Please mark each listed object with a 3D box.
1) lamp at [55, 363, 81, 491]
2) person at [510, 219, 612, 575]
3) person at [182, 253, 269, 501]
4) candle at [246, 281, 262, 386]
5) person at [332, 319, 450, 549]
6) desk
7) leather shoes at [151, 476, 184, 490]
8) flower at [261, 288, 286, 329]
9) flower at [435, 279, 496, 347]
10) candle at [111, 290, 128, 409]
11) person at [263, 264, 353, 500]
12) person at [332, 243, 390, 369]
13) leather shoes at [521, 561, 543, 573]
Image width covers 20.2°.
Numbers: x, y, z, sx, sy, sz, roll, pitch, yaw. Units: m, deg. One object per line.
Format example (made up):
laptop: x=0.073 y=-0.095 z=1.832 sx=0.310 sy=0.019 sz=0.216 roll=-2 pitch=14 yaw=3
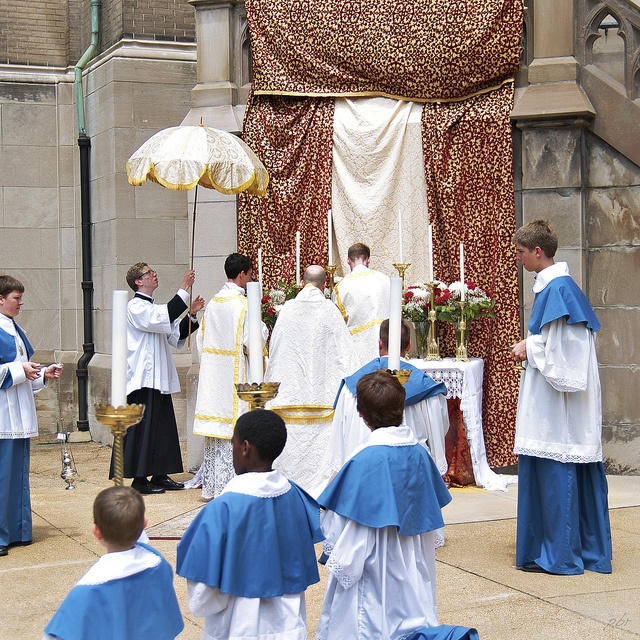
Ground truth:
lamp: x=-2.095 y=0.895 z=15.013 sx=0.213 sy=0.899 sz=0.207 roll=-6 pitch=16 yaw=-16
person: x=1.553 y=0.463 z=11.050 sx=0.688 sy=2.046 sz=0.712 roll=-2 pitch=13 yaw=-10
person: x=-0.599 y=0.405 z=12.871 sx=0.506 sy=1.700 sz=0.603 roll=0 pitch=5 yaw=-31
candle: x=-0.345 y=0.077 z=9.512 sx=0.072 sy=0.530 sz=0.275 roll=-1 pitch=-1 yaw=-3
person: x=0.438 y=0.565 z=11.069 sx=0.496 sy=1.152 sz=0.548 roll=1 pitch=14 yaw=2
desk: x=0.955 y=0.638 z=13.090 sx=0.736 sy=0.984 sz=0.685 roll=9 pitch=17 yaw=41
leather shoes: x=-1.126 y=1.205 z=13.210 sx=0.278 sy=0.121 sz=0.094 roll=4 pitch=-3 yaw=-9
flower: x=-0.367 y=-0.081 z=13.254 sx=0.227 sy=0.270 sz=0.234 roll=-3 pitch=-7 yaw=39
flower: x=1.063 y=-0.043 z=13.037 sx=0.364 sy=0.449 sz=0.505 roll=-1 pitch=-1 yaw=24
candle: x=-1.007 y=0.154 z=9.041 sx=0.075 sy=0.578 sz=0.131 roll=-1 pitch=-1 yaw=-7
person: x=-0.049 y=0.424 z=12.458 sx=0.732 sy=1.589 sz=0.514 roll=2 pitch=5 yaw=-10
person: x=0.293 y=-0.124 z=12.924 sx=0.364 sy=0.885 sz=0.351 roll=4 pitch=13 yaw=13
leather shoes: x=1.283 y=1.501 z=10.944 sx=0.136 sy=0.055 sz=0.051 roll=6 pitch=-11 yaw=2
